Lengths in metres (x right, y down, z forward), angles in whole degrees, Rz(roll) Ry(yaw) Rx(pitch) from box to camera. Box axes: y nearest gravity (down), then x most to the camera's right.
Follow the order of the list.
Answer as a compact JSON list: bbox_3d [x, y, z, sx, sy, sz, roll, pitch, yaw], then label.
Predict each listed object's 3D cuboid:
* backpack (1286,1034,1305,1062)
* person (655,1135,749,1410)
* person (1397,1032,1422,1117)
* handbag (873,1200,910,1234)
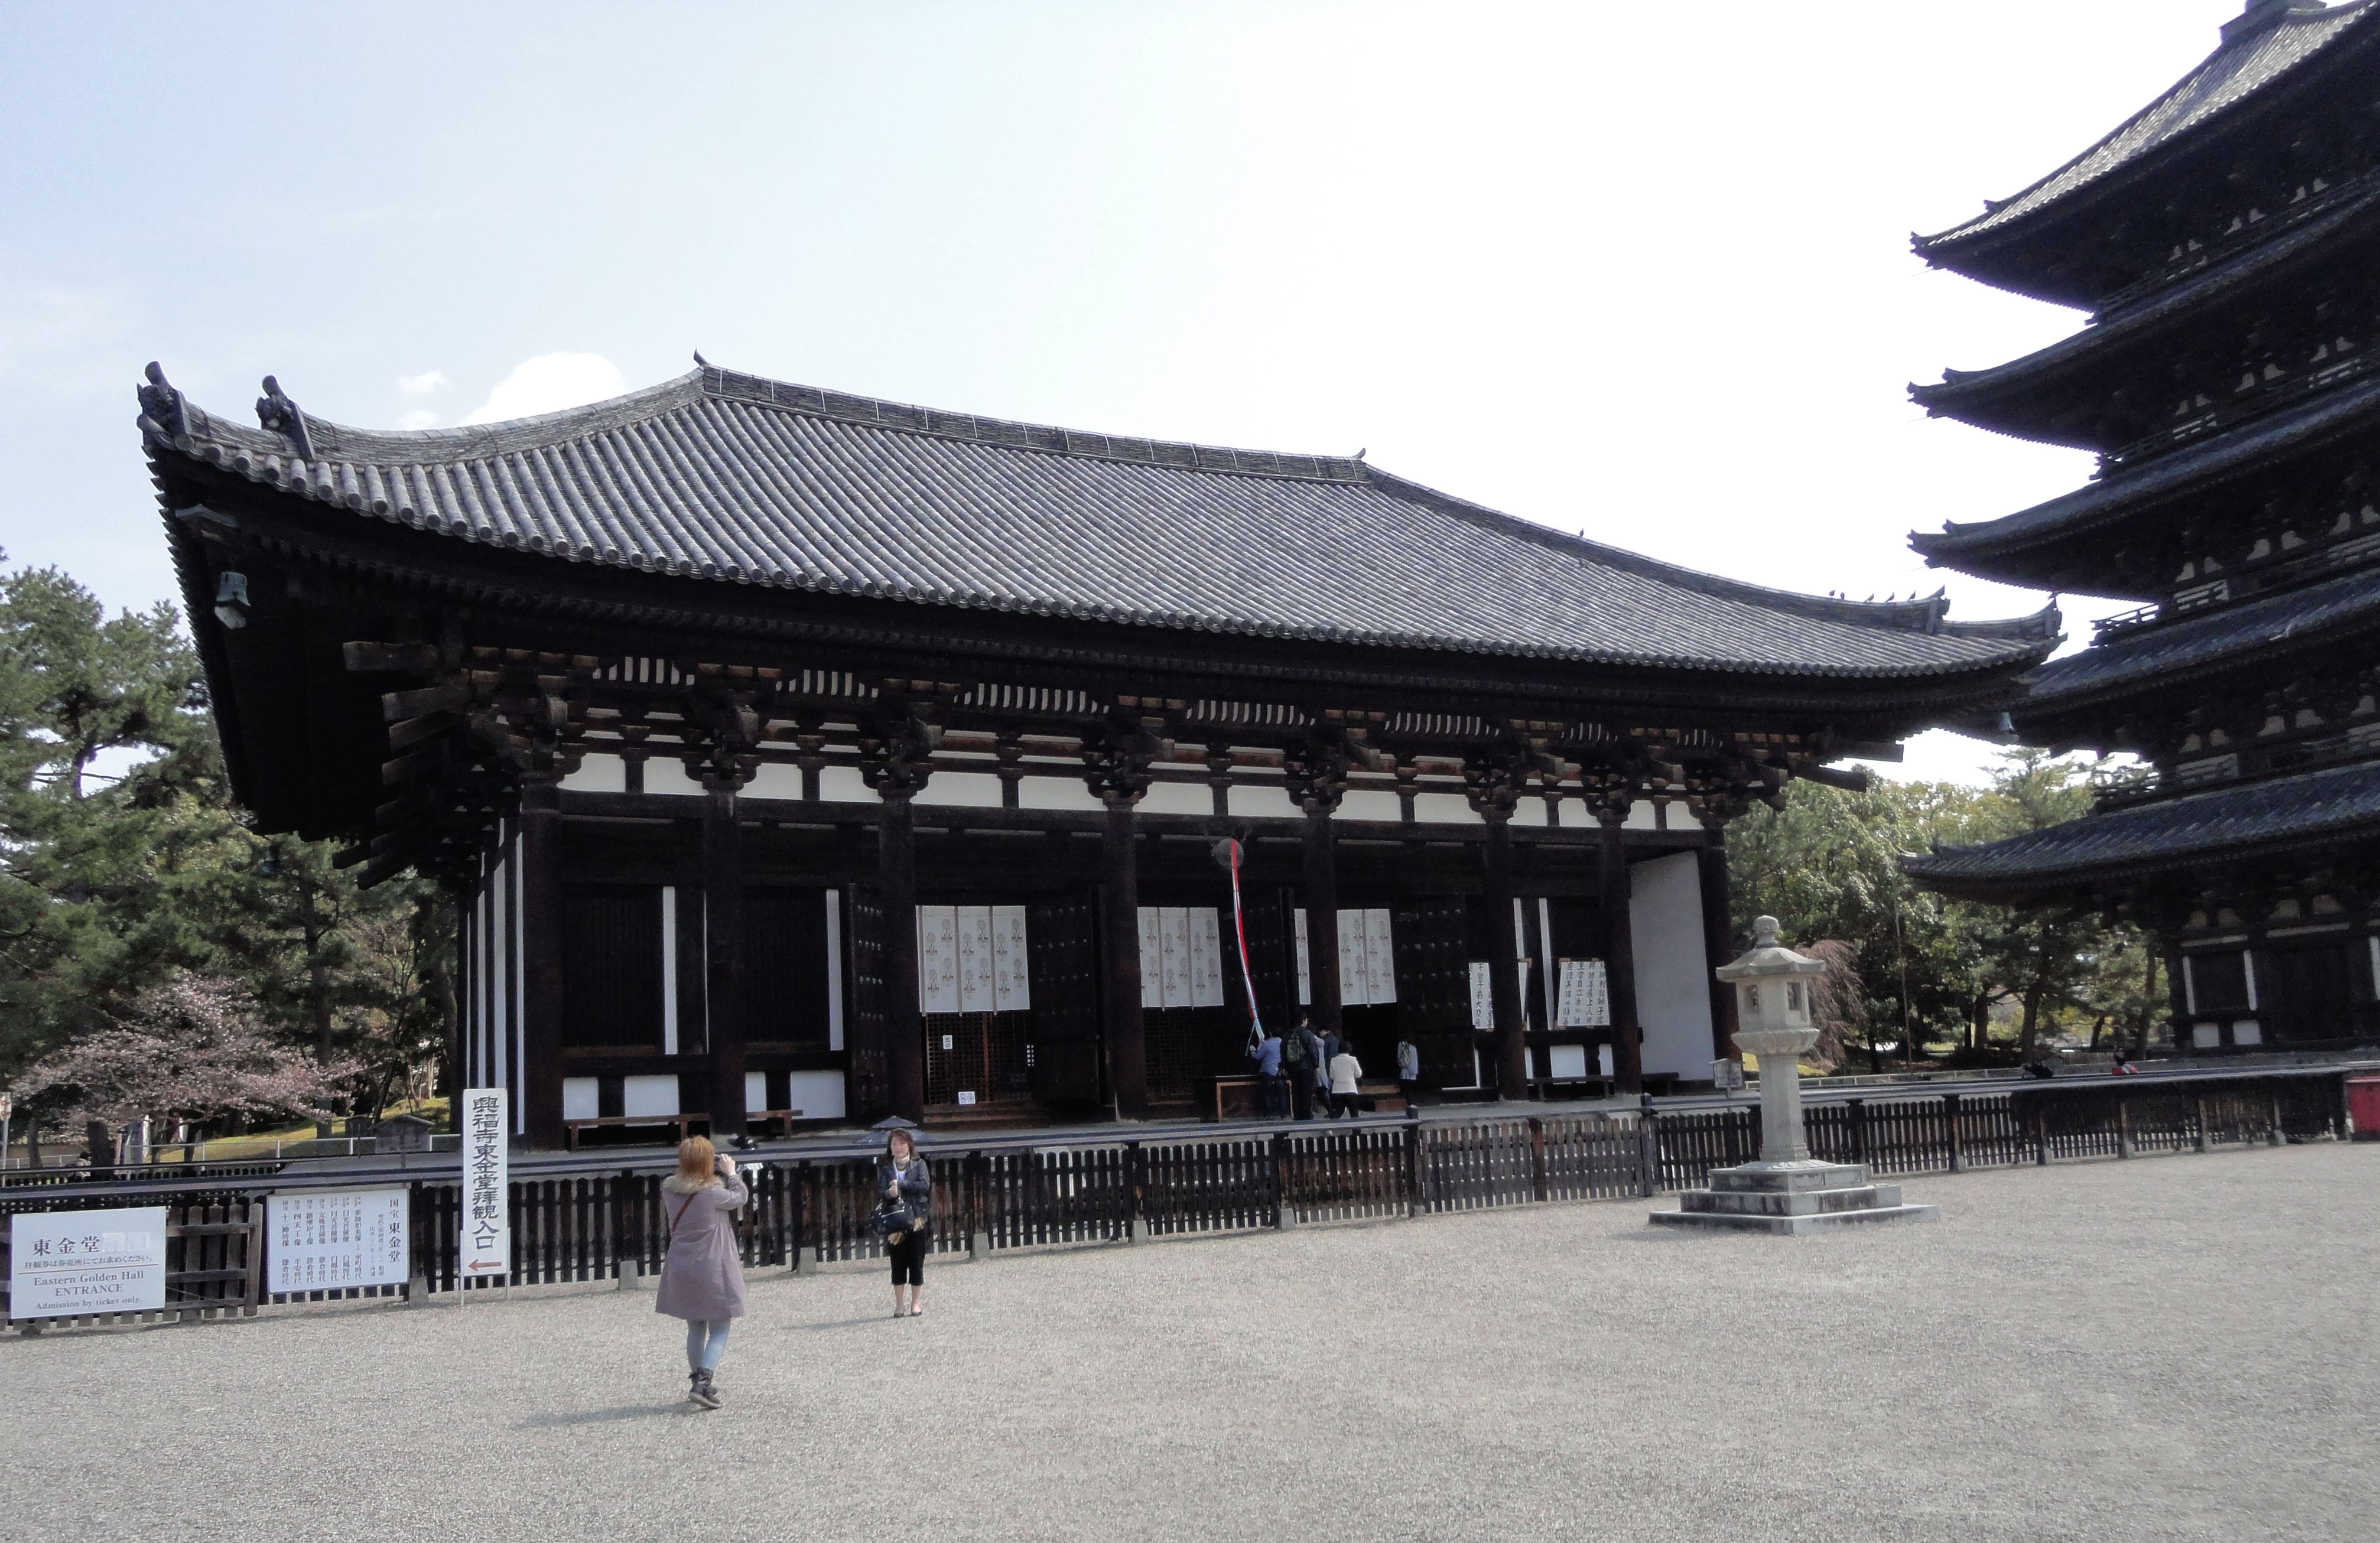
[{"bbox_3d":[1.549,3.916,27.591,0.150,0.453,0.712,-2,-13,-11],"label":"backpack"},{"bbox_3d":[-4.427,4.468,17.577,0.746,2.395,1.481,-1,-13,-14],"label":"person"},{"bbox_3d":[3.573,4.817,31.576,0.342,1.122,0.820,-7,-13,14],"label":"person"},{"bbox_3d":[-3.065,4.578,19.955,0.309,0.306,0.324,7,-13,-19],"label":"handbag"}]
